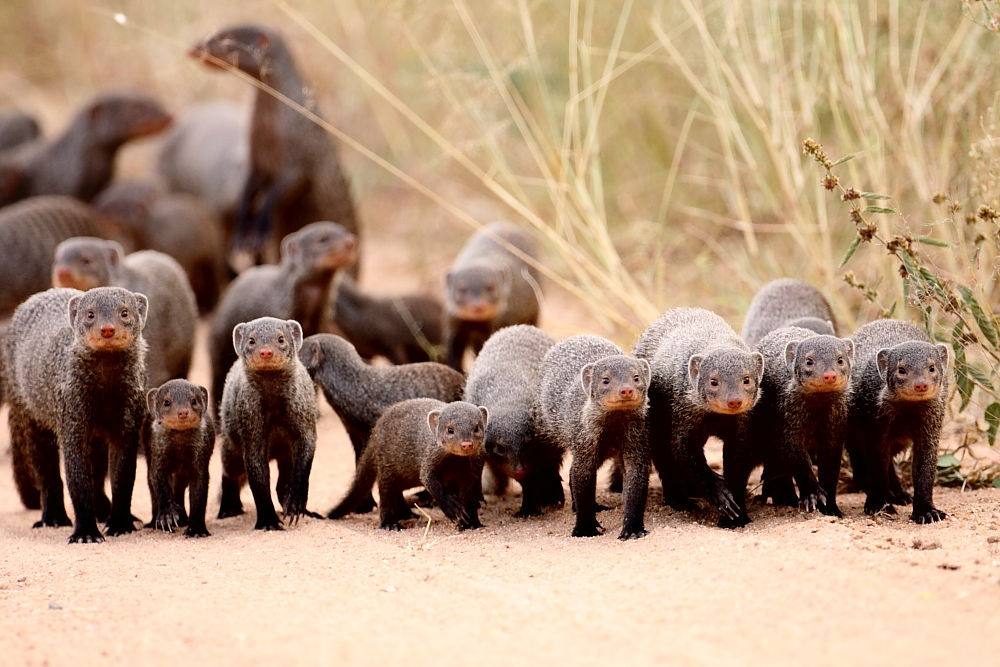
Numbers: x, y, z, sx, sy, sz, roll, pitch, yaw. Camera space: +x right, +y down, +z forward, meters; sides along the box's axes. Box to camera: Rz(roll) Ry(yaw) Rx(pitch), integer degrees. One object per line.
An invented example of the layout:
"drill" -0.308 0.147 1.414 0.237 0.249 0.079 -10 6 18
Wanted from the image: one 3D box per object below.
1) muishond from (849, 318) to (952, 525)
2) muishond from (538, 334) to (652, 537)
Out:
"muishond" 2.403 0.516 6.337 0.660 1.087 0.560 5 12 42
"muishond" 0.597 0.641 6.524 0.667 1.105 1.099 -4 9 -5
